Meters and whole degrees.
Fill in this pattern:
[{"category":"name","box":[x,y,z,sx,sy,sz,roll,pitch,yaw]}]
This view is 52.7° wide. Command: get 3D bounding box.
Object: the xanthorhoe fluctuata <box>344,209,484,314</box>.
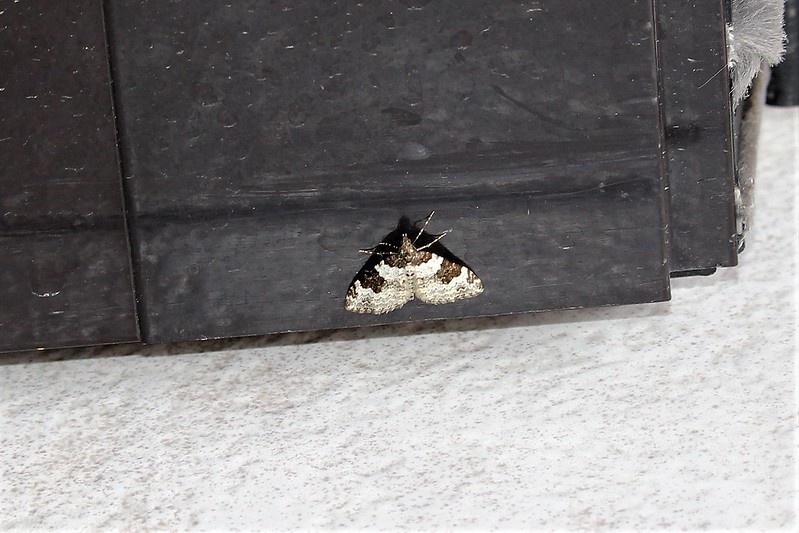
[{"category":"xanthorhoe fluctuata","box":[0.028,-0.016,2.315,0.484,0.272,0.107,-2,7,5]}]
